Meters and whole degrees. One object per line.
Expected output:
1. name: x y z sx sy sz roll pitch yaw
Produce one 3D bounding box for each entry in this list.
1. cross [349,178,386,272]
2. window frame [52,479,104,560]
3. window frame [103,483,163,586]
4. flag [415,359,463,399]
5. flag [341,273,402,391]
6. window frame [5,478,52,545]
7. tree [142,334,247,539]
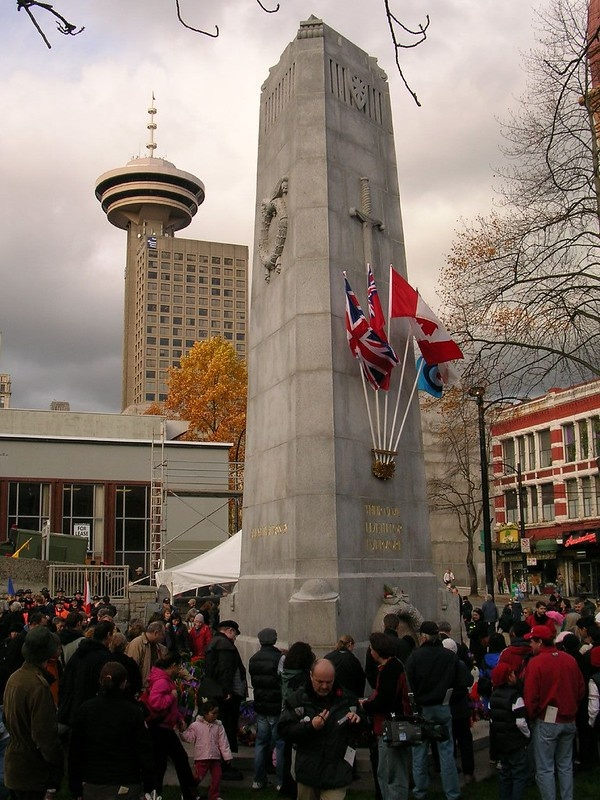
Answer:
1. cross: 1.281 -3.433 15.277 0.219 1.925 1.056 -13 -15 36
2. window frame: -10.602 6.073 39.599 2.326 3.853 0.220 3 5 14
3. window frame: -8.065 6.854 40.310 2.544 6.190 0.593 3 26 -7
4. flag: 2.597 -0.437 15.154 0.795 0.749 0.186 -8 33 -20
5. flag: 1.174 -1.333 13.914 0.797 2.122 1.063 -7 -12 15
6. window frame: -12.466 5.125 36.820 2.604 2.817 0.136 7 -18 -30
7. tree: -4.873 1.564 44.392 4.291 11.614 7.358 1 -13 -21
